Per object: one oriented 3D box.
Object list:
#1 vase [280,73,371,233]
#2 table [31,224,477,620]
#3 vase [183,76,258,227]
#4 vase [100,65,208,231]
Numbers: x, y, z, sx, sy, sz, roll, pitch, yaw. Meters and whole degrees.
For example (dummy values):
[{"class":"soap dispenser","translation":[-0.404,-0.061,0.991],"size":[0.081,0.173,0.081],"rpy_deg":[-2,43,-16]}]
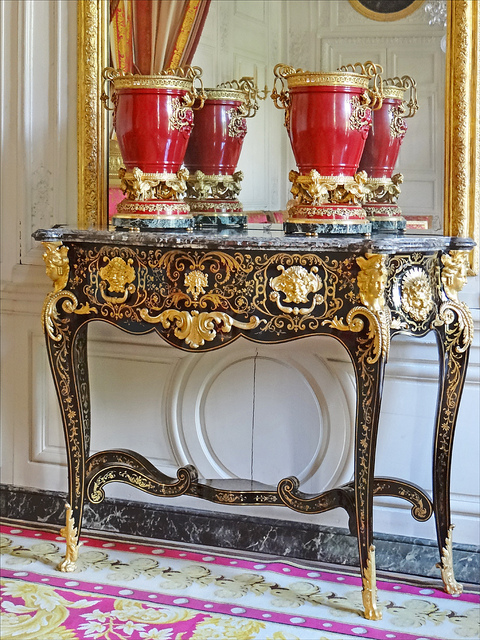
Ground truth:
[{"class":"vase","translation":[0.220,-0.402,1.798],"size":[0.246,0.346,0.250],"rpy_deg":[-6,13,-25]},{"class":"table","translation":[0.080,0.286,1.956],"size":[1.105,0.799,0.430],"rpy_deg":[0,-2,27]},{"class":"vase","translation":[-0.072,-0.482,2.110],"size":[0.262,0.395,0.213],"rpy_deg":[14,20,37]},{"class":"vase","translation":[-0.222,-0.415,1.858],"size":[0.236,0.397,0.266],"rpy_deg":[5,-20,-4]}]
